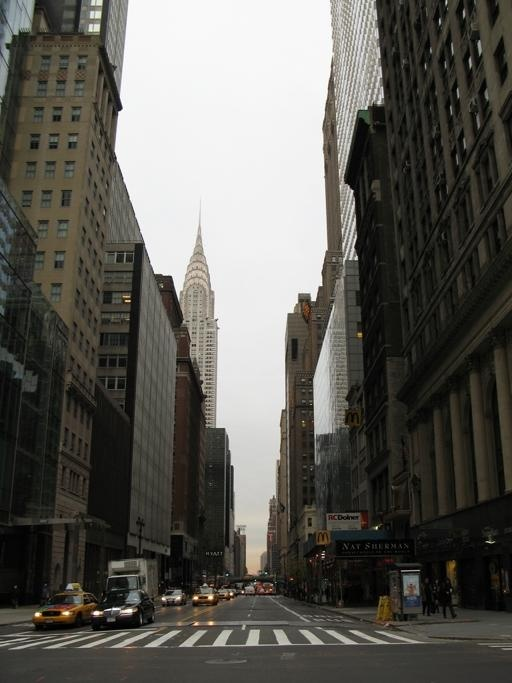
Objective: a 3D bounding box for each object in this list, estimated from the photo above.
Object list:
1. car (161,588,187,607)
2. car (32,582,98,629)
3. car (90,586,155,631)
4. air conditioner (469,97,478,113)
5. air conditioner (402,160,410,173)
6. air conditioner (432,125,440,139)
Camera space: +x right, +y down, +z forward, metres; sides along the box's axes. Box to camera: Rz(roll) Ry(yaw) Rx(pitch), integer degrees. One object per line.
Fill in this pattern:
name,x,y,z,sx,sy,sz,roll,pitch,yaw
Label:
car,-7.838,24.185,55.186,1.875,1.653,4.969,1,-26,-6
car,-8.169,11.393,24.921,1.481,1.565,4.062,0,-26,-5
car,-5.200,10.560,23.326,0.973,1.045,3.029,-4,-33,-1
air conditioner,12.848,-13.869,34.534,0.393,1.014,0.529,15,-44,-12
air conditioner,13.557,-15.781,52.828,0.510,1.127,0.892,1,4,7
air conditioner,13.172,-15.419,42.755,0.510,1.096,0.313,-1,-4,12
